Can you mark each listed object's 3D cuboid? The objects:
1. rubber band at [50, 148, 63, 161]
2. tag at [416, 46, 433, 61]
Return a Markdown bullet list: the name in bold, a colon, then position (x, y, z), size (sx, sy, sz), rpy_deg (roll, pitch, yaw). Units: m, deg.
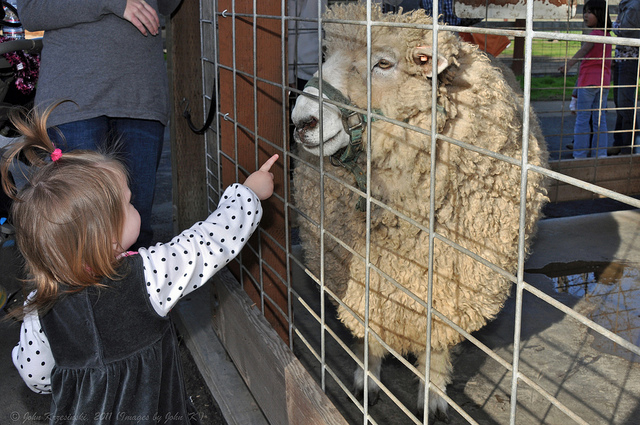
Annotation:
- **rubber band**: position (-1.165, -0.261, 2.292), size (0.048, 0.049, 0.015), rpy_deg (-8, -24, 5)
- **tag**: position (0.564, -0.868, 2.832), size (0.066, 0.029, 0.077), rpy_deg (2, -8, 2)
